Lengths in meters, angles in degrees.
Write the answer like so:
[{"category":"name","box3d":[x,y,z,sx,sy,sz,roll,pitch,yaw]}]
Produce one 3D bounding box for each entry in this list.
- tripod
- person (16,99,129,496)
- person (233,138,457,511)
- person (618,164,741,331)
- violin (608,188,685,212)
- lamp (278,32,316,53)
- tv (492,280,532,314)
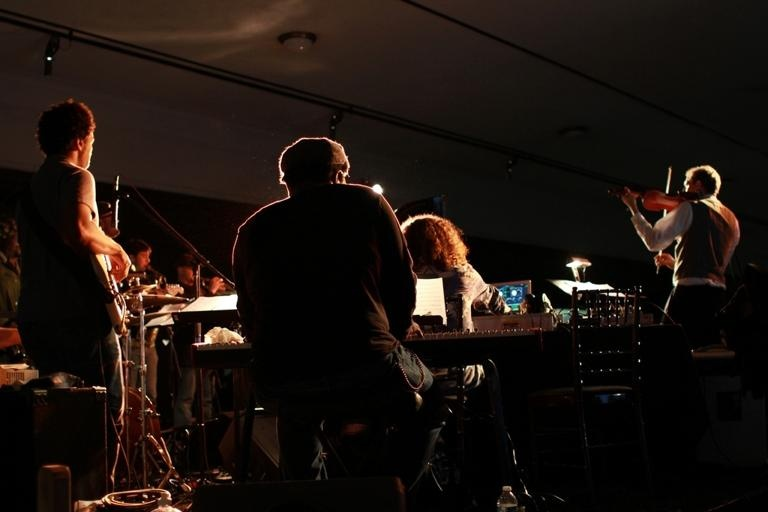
[{"category":"tripod","box3d":[-2.130,1.283,6.749,0.401,1.562,1.870,0,-13,-18]},{"category":"person","box3d":[-2.050,0.199,4.795,0.699,2.636,0.482,-1,-13,-13]},{"category":"person","box3d":[-0.258,0.496,4.707,1.183,2.307,1.437,1,-13,-1]},{"category":"person","box3d":[2.736,-0.082,6.613,0.907,1.502,0.462,-7,-13,15]},{"category":"violin","box3d":[2.434,-0.522,6.795,0.542,0.149,0.300,9,3,38]},{"category":"lamp","box3d":[-0.869,-2.171,7.461,0.403,0.114,0.224,-3,-13,-6]},{"category":"tv","box3d":[1.359,0.460,7.477,0.227,0.407,0.435,-11,-2,10]}]
